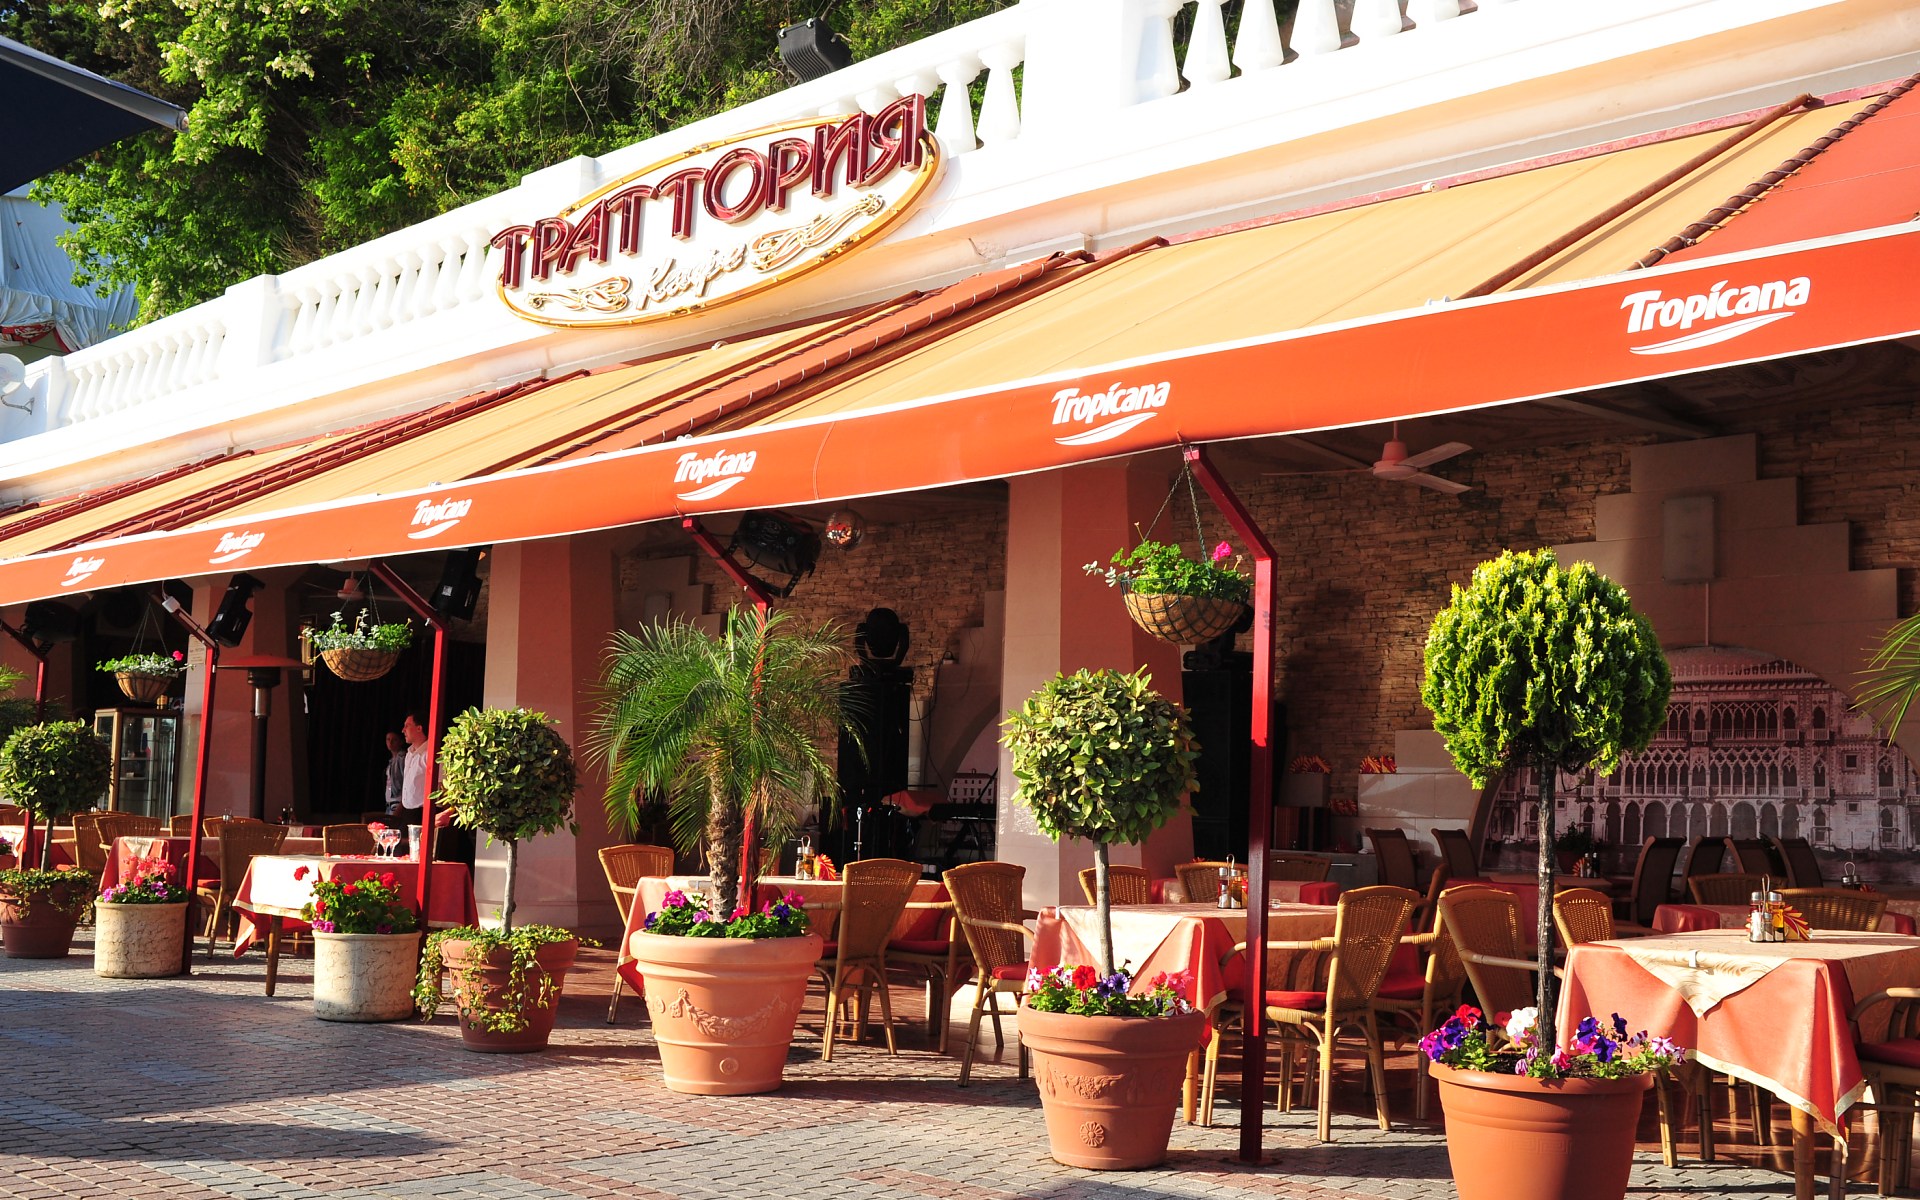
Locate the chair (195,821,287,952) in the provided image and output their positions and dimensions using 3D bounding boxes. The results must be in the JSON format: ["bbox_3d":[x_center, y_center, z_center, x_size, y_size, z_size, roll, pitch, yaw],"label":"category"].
[{"bbox_3d":[-6.414,2.645,16.940,0.669,1.057,0.634,26,4,37],"label":"chair"}]

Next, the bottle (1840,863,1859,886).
[{"bbox_3d":[7.323,2.279,15.482,0.190,0.129,0.364,1,5,24],"label":"bottle"}]

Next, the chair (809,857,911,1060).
[{"bbox_3d":[-0.885,2.606,13.722,0.946,1.372,1.045,6,-8,-37],"label":"chair"}]

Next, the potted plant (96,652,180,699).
[{"bbox_3d":[-8.435,0.795,19.660,0.753,0.364,0.798,1,-8,-8],"label":"potted plant"}]

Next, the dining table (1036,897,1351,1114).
[{"bbox_3d":[1.386,2.768,12.149,1.384,0.828,1.762,-9,-12,41],"label":"dining table"}]

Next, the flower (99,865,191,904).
[{"bbox_3d":[-6.942,2.431,16.072,0.702,0.249,0.597,-1,5,-33],"label":"flower"}]

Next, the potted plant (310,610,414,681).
[{"bbox_3d":[-5.997,0.437,18.853,0.953,0.621,0.873,0,-6,-6],"label":"potted plant"}]

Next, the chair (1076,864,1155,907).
[{"bbox_3d":[1.139,2.099,13.914,0.332,0.504,0.373,3,-7,-27],"label":"chair"}]

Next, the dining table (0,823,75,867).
[{"bbox_3d":[-9.448,2.509,19.288,0.695,0.431,1.640,0,5,-25],"label":"dining table"}]

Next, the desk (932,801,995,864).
[{"bbox_3d":[0.075,2.634,21.174,0.617,0.706,1.017,1,-3,-36],"label":"desk"}]

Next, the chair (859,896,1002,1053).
[{"bbox_3d":[-0.491,2.657,13.894,1.019,1.237,0.890,2,-11,-13],"label":"chair"}]

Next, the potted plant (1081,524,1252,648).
[{"bbox_3d":[1.471,-0.045,12.420,1.072,0.681,1.055,3,5,-42],"label":"potted plant"}]

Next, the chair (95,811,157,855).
[{"bbox_3d":[-7.985,2.255,18.144,0.397,0.540,0.397,4,-6,-43],"label":"chair"}]

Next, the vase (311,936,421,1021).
[{"bbox_3d":[-4.565,2.875,14.423,0.815,0.603,0.797,2,-7,-7],"label":"vase"}]

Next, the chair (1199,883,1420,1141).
[{"bbox_3d":[2.335,2.670,12.288,1.122,1.530,1.149,-5,-7,39],"label":"chair"}]

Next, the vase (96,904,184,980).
[{"bbox_3d":[-6.907,2.860,15.899,0.663,0.554,0.660,-1,-6,16],"label":"vase"}]

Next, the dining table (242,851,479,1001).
[{"bbox_3d":[-4.830,2.661,15.727,1.513,0.833,1.442,7,-11,-24],"label":"dining table"}]

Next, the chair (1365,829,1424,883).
[{"bbox_3d":[3.992,2.324,16.999,0.418,0.676,0.508,0,-5,-30],"label":"chair"}]

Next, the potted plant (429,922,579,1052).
[{"bbox_3d":[-3.236,2.848,13.549,1.030,0.733,1.006,6,-12,-34],"label":"potted plant"}]

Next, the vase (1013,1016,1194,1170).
[{"bbox_3d":[0.928,2.983,11.483,1.169,0.848,1.164,-2,-11,14],"label":"vase"}]

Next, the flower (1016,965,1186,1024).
[{"bbox_3d":[0.894,2.324,11.269,0.991,0.266,0.608,2,4,5],"label":"flower"}]

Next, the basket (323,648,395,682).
[{"bbox_3d":[-5.258,0.558,16.357,0.460,0.192,0.467,-6,-10,42],"label":"basket"}]

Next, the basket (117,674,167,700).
[{"bbox_3d":[-8.411,0.887,19.440,0.477,0.209,0.467,4,-6,-25],"label":"basket"}]

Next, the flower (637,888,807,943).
[{"bbox_3d":[-1.526,2.106,12.459,1.039,0.235,0.575,2,4,-1],"label":"flower"}]

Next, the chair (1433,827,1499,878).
[{"bbox_3d":[4.560,2.323,17.044,0.521,0.430,1.017,3,5,16],"label":"chair"}]

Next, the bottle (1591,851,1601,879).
[{"bbox_3d":[5.674,2.371,16.768,0.129,0.160,0.450,3,5,18],"label":"bottle"}]

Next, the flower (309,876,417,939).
[{"bbox_3d":[-4.538,2.361,14.342,0.535,0.360,0.524,10,-8,-25],"label":"flower"}]

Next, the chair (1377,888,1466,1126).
[{"bbox_3d":[2.903,2.638,12.664,0.914,1.327,0.871,-3,-6,9],"label":"chair"}]
